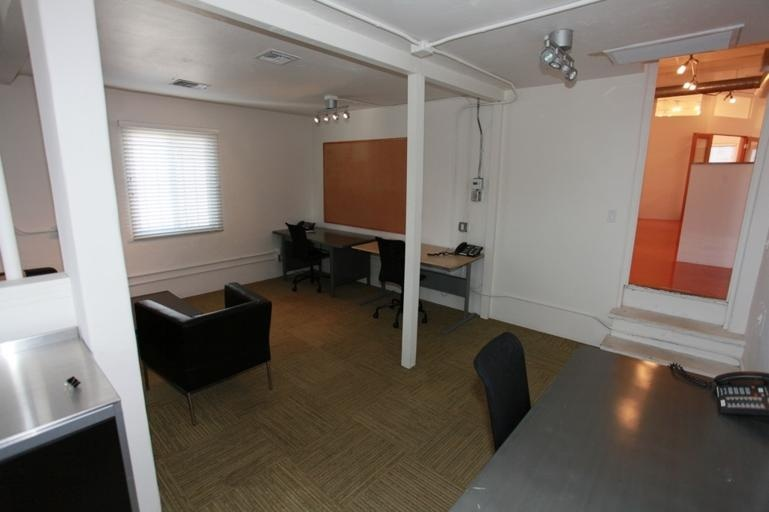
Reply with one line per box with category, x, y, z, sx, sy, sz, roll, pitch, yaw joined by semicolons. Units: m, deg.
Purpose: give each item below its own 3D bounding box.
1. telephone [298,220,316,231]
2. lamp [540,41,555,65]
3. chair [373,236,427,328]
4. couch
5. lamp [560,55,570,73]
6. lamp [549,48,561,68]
telephone;-1.264;-0.510;8.195;0.245;0.071;0.183;6;15;14
lamp;1.379;-1.701;4.159;0.117;0.179;0.160;12;19;38
chair;0.248;0.267;6.349;0.706;1.028;0.660;-9;13;-38
couch;-1.717;0.637;4.902;1.271;1.245;1.232;17;21;41
lamp;1.558;-1.650;4.272;0.096;0.125;0.043;0;6;-17
lamp;1.440;-1.651;4.160;0.067;0.147;0.113;4;12;33
